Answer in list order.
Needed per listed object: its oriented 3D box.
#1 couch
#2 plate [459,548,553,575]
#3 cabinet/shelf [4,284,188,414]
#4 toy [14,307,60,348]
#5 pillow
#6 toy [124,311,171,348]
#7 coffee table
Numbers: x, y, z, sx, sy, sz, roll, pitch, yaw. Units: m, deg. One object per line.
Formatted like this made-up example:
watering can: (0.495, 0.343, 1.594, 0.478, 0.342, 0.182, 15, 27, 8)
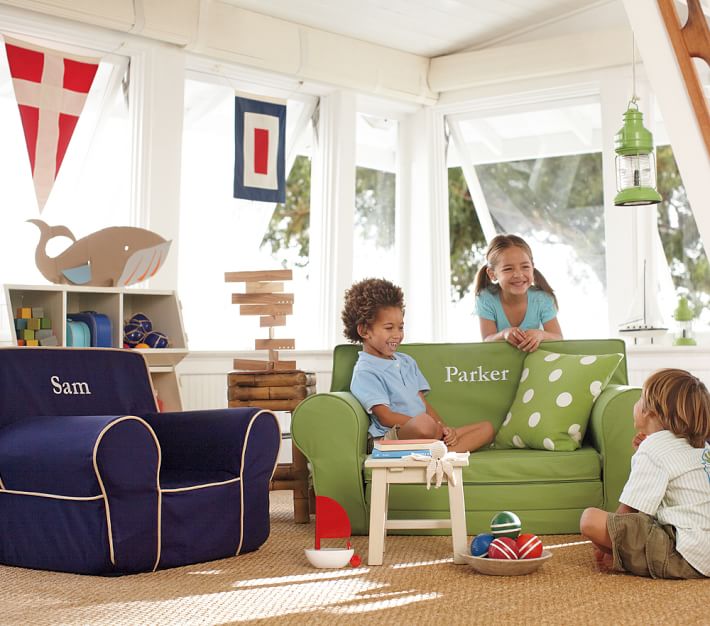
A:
couch: (0.510, 0.568, 2.798, 1.443, 0.876, 0.738, -1, -7, 1)
plate: (0.479, 0.781, 2.203, 0.271, 0.061, 0.239, 3, -5, 27)
cabinet/shelf: (-1.174, 0.146, 3.362, 0.811, 0.643, 0.275, 0, 1, -43)
toy: (-1.432, 0.060, 3.124, 0.198, 0.169, 0.114, 0, -3, -15)
pillow: (0.817, 0.333, 2.887, 0.132, 0.445, 0.430, 38, -25, -25)
toy: (-1.041, 0.086, 3.424, 0.159, 0.165, 0.074, 15, -43, -30)
coffee table: (-0.372, 0.601, 3.241, 0.383, 0.679, 0.379, -1, 0, 9)
